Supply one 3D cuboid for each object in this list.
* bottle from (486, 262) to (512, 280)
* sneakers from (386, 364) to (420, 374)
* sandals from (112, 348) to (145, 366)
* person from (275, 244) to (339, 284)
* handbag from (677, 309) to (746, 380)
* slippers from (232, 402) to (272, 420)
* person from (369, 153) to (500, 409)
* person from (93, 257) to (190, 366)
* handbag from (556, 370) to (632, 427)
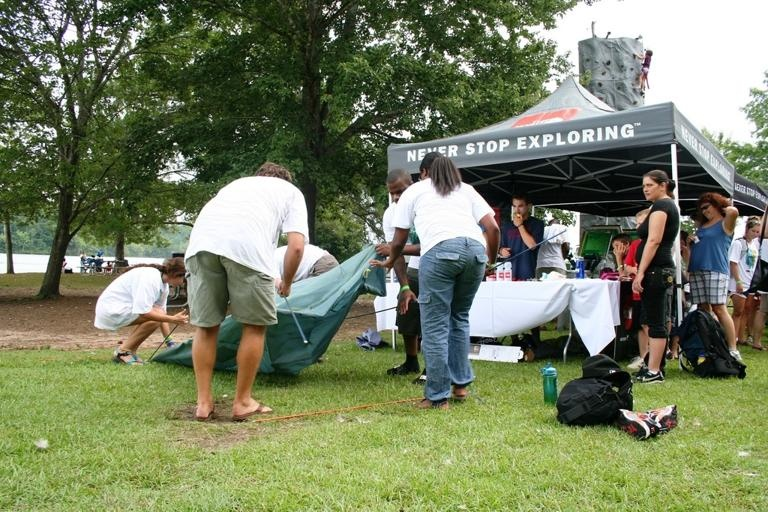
[{"bbox_3d":[1.911,0.257,13.006,0.344,0.379,0.120,0,-5,23],"label":"bottle"},{"bbox_3d":[0.293,1.713,12.002,0.455,0.157,0.167,3,-11,-3],"label":"sneakers"},{"bbox_3d":[-3.872,1.536,12.136,0.446,0.158,0.232,4,-1,0],"label":"sandals"},{"bbox_3d":[-1.204,0.109,12.645,0.878,0.235,0.566,-11,-4,6],"label":"person"},{"bbox_3d":[4.937,1.333,12.209,0.978,1.151,1.238,-5,-8,12],"label":"handbag"},{"bbox_3d":[-1.683,2.011,10.265,0.486,0.119,0.187,-7,4,-30],"label":"slippers"},{"bbox_3d":[0.810,0.278,10.665,1.395,3.218,0.556,2,0,5],"label":"person"},{"bbox_3d":[-3.759,0.815,12.316,1.342,1.681,0.526,2,0,-6],"label":"person"},{"bbox_3d":[2.667,1.806,10.118,0.894,0.366,0.644,-15,4,2],"label":"handbag"}]
